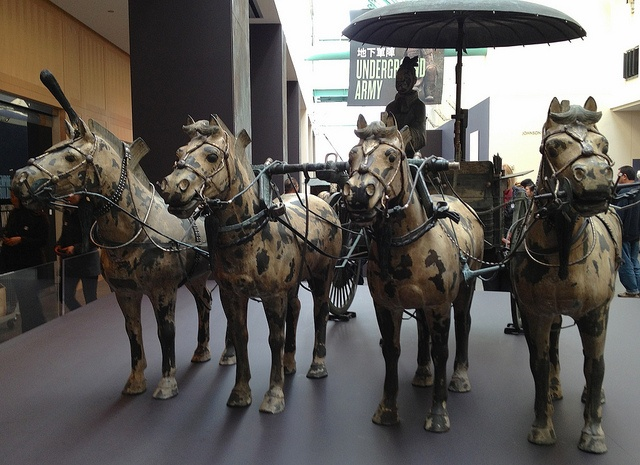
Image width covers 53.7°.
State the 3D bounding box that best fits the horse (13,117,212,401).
[{"bbox_3d":[-1.980,0.404,7.555,0.902,3.204,3.515,-1,0,26],"label":"horse"}]

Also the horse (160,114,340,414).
[{"bbox_3d":[-0.605,0.376,7.243,0.843,3.283,2.852,2,2,30],"label":"horse"}]

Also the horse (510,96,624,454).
[{"bbox_3d":[2.433,0.407,6.305,1.022,3.372,0.744,3,14,16],"label":"horse"}]
